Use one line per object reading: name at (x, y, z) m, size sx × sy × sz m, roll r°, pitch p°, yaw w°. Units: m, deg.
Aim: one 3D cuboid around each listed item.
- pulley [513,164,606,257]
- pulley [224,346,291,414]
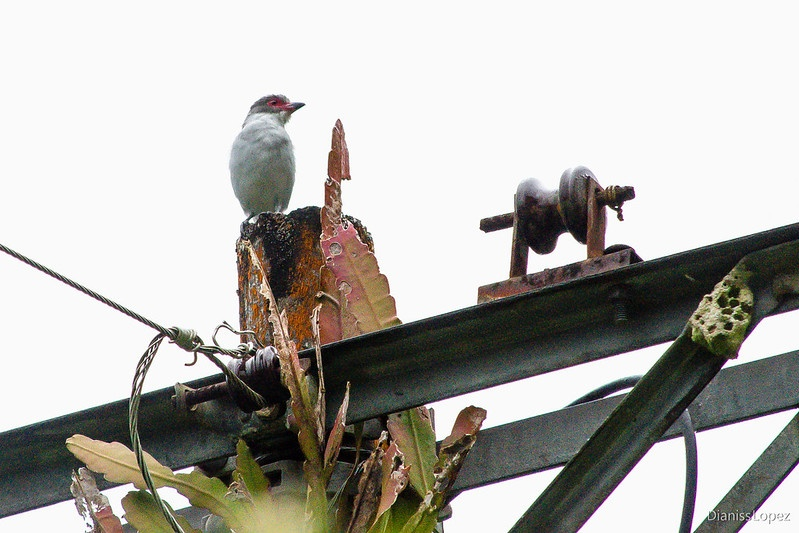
pulley at (0.619, -0.193, 7.910) m, size 0.327 × 0.328 × 0.298 m, roll -13°, pitch -12°, yaw 39°
pulley at (-0.530, 0.404, 7.641) m, size 0.220 × 0.160 × 0.219 m, roll -14°, pitch -50°, yaw 0°
